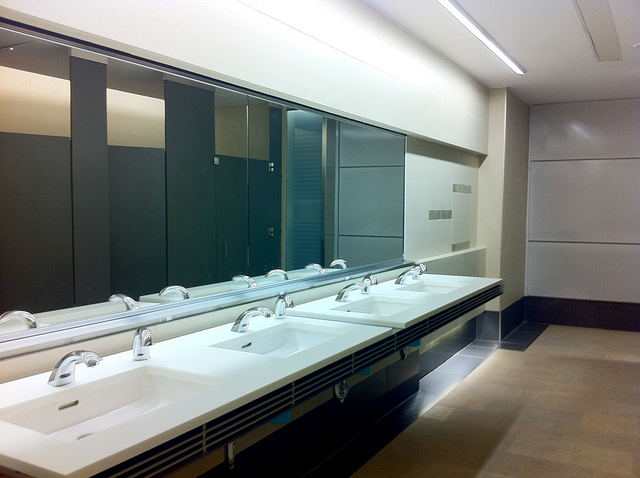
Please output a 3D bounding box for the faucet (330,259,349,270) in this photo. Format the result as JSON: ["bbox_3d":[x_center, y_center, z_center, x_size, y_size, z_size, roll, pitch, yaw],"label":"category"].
[{"bbox_3d":[0.162,0.216,3.522,0.159,0.099,0.055,3,1,-22],"label":"faucet"}]

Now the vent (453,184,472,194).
[{"bbox_3d":[1.792,-0.621,5.462,0.016,0.111,0.647,2,4,38],"label":"vent"}]

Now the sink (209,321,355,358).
[{"bbox_3d":[-0.240,0.551,2.580,0.508,0.179,0.767,22,-15,-35],"label":"sink"}]

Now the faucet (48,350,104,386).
[{"bbox_3d":[-0.853,0.448,1.514,0.203,0.125,0.075,2,4,16],"label":"faucet"}]

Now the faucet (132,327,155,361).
[{"bbox_3d":[-0.707,0.421,1.747,0.079,0.132,0.066,-7,-4,-8],"label":"faucet"}]

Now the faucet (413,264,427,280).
[{"bbox_3d":[0.866,0.298,3.840,0.106,0.133,0.144,-1,0,-34],"label":"faucet"}]

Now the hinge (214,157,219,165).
[{"bbox_3d":[-0.558,-0.418,2.342,0.006,0.032,0.046,2,4,22],"label":"hinge"}]
